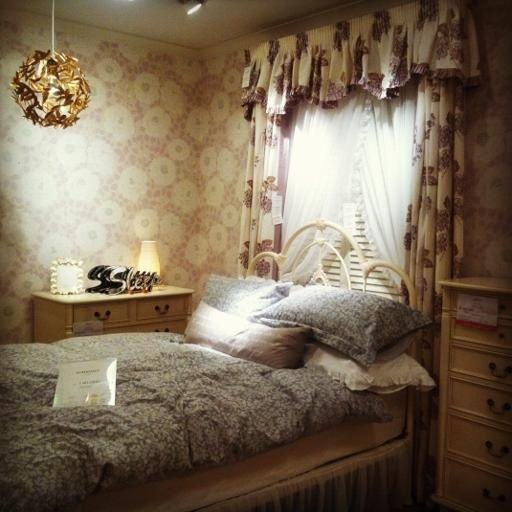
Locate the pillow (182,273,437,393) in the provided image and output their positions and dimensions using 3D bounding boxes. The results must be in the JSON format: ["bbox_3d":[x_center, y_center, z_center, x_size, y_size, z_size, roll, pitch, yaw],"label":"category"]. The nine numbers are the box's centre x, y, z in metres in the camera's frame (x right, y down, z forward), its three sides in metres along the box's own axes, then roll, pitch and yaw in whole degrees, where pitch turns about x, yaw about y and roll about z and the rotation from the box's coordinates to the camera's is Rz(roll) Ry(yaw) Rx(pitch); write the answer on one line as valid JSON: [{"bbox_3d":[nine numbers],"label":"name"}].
[{"bbox_3d":[0.158,0.341,2.241,0.907,0.327,0.599,9,18,20],"label":"pillow"}]

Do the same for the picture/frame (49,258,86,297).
[{"bbox_3d":[-1.312,0.148,3.111,0.241,0.304,0.058,0,-1,-33],"label":"picture/frame"}]
